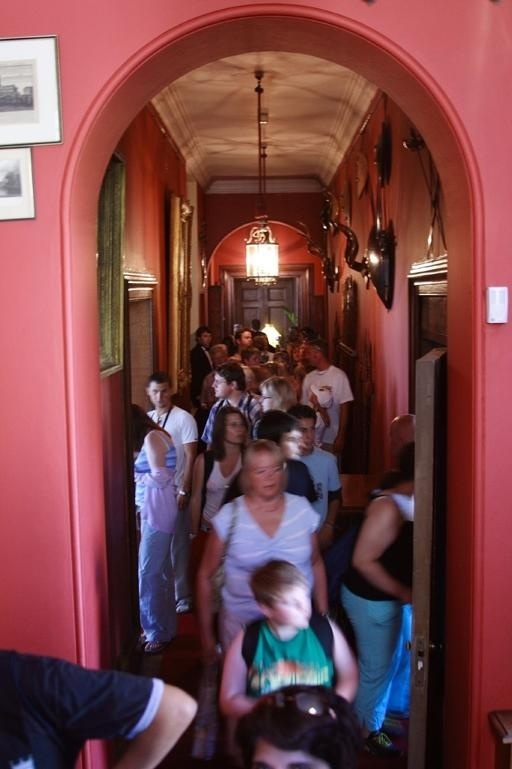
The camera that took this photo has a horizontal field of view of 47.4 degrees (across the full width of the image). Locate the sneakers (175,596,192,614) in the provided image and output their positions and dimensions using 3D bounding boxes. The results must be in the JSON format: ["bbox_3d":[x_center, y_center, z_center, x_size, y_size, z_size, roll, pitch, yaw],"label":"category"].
[{"bbox_3d":[-0.566,1.691,4.485,0.117,0.114,0.095,2,0,-7],"label":"sneakers"}]

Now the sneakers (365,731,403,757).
[{"bbox_3d":[0.628,1.760,2.855,0.079,0.092,0.191,10,-11,-26],"label":"sneakers"}]
